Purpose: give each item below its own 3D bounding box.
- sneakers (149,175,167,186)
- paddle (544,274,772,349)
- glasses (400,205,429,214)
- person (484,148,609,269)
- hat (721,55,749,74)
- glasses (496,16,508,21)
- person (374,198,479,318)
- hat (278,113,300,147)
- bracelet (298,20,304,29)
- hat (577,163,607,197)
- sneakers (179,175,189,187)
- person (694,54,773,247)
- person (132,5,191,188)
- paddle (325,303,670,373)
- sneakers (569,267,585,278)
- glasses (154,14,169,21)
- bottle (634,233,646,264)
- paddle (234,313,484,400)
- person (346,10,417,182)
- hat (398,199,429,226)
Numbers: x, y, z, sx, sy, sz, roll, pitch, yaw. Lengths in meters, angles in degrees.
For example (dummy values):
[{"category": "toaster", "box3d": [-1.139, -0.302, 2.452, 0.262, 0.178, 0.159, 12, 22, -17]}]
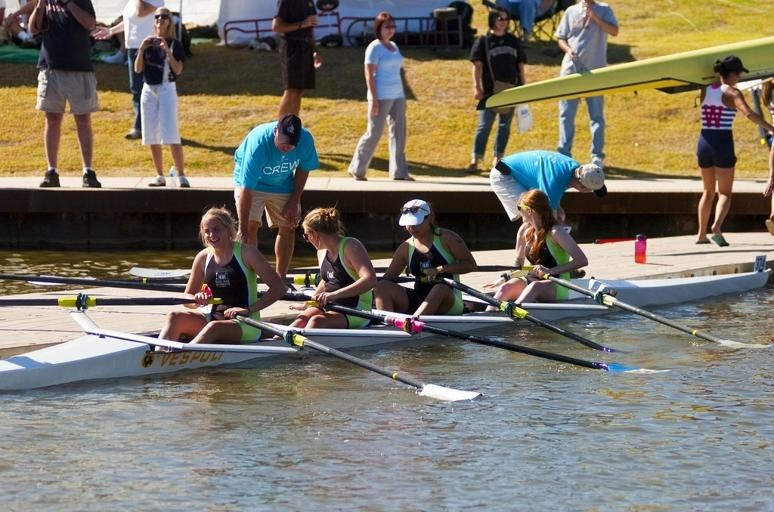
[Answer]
[{"category": "sneakers", "box3d": [-3.472, -1.087, 20.112, 0.309, 0.098, 0.153, 0, 1, 38]}, {"category": "paddle", "box3d": [3.128, 0.700, 15.925, 3.463, 0.202, 0.864, 14, 5, 24]}, {"category": "glasses", "box3d": [0.298, -0.530, 15.752, 0.343, 0.089, 0.147, 3, 12, 26]}, {"category": "person", "box3d": [2.162, -0.832, 17.465, 0.833, 0.975, 1.825, -19, 31, -35]}, {"category": "hat", "box3d": [4.776, -2.578, 18.397, 0.305, 0.243, 0.427, 1, 11, 15]}, {"category": "glasses", "box3d": [1.786, -3.591, 20.671, 0.185, 0.059, 0.067, -11, 14, -43]}, {"category": "person", "box3d": [0.450, 0.042, 16.861, 1.240, 1.469, 1.188, 24, -36, -38]}, {"category": "hat", "box3d": [-1.183, -1.482, 16.191, 0.289, 0.365, 0.200, 0, -36, -20]}, {"category": "bracelet", "box3d": [-1.214, -3.163, 18.646, 0.098, 0.105, 0.037, -1, -4, -8]}, {"category": "hat", "box3d": [2.580, -0.924, 16.948, 0.328, 0.410, 0.405, -1, 12, 7]}, {"category": "sneakers", "box3d": [-3.025, -1.081, 19.876, 0.168, 0.158, 0.321, -4, 11, -8]}, {"category": "person", "box3d": [4.720, -1.391, 18.627, 0.770, 2.663, 1.045, -3, 13, -2]}, {"category": "person", "box3d": [-3.346, -2.305, 19.915, 0.739, 2.576, 0.952, -5, 13, -9]}, {"category": "paddle", "box3d": [1.044, 0.995, 15.540, 4.398, 0.287, 0.205, 17, 0, -40]}, {"category": "sneakers", "box3d": [2.430, 0.216, 17.149, 0.124, 0.111, 0.324, -2, -11, 8]}, {"category": "glasses", "box3d": [-3.289, -3.422, 19.573, 0.201, 0.077, 0.148, -3, 11, -9]}, {"category": "bottle", "box3d": [3.482, -0.098, 18.440, 0.166, 0.348, 0.520, 0, 11, 10]}, {"category": "paddle", "box3d": [-0.390, 1.137, 14.979, 2.424, 0.143, 0.334, 16, 3, 22]}, {"category": "person", "box3d": [-0.069, -2.360, 20.600, 0.876, 2.550, 0.580, -8, 14, -22]}, {"category": "hat", "box3d": [0.344, -0.498, 15.789, 0.277, 0.169, 0.367, 0, 29, 30]}]
